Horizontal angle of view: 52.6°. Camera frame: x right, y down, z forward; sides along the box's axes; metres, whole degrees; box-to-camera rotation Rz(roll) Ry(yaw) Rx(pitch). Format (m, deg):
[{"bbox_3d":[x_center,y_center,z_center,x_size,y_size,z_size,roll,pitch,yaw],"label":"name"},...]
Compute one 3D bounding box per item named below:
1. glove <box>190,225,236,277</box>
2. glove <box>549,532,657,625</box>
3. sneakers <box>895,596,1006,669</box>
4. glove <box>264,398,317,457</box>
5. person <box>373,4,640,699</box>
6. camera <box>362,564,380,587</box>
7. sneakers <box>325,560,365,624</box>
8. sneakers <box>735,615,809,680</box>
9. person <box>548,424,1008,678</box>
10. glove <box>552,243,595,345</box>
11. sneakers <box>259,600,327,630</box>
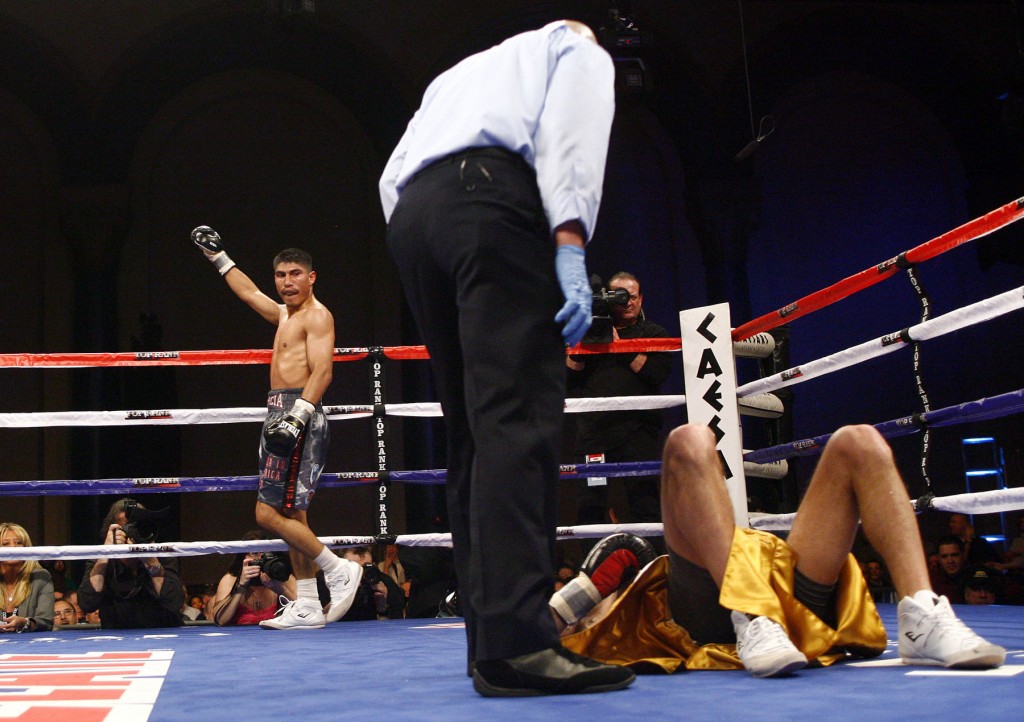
[{"bbox_3d":[-1.871,-0.741,6.539,0.312,0.164,0.114,35,-6,35],"label":"glove"},{"bbox_3d":[0.369,0.866,4.161,0.304,0.417,0.169,26,-16,13],"label":"glove"},{"bbox_3d":[1.615,0.994,3.832,0.179,0.246,0.531,4,-15,-11],"label":"sneakers"},{"bbox_3d":[-1.271,0.407,5.939,0.406,0.222,0.155,-14,-13,37],"label":"glove"},{"bbox_3d":[-0.013,-0.048,4.002,0.884,2.558,0.395,-2,-12,1],"label":"person"},{"bbox_3d":[-0.997,1.528,7.500,0.108,0.120,0.138,3,10,17],"label":"camera"},{"bbox_3d":[-1.002,1.306,6.040,0.172,0.384,0.132,21,1,-25],"label":"sneakers"},{"bbox_3d":[0.971,1.050,3.957,0.181,0.188,0.488,-5,-5,0],"label":"sneakers"},{"bbox_3d":[0.991,0.748,4.210,1.953,0.793,1.298,-7,-8,39],"label":"person"},{"bbox_3d":[0.235,-0.257,4.014,0.122,0.408,0.126,-1,-12,11],"label":"glove"},{"bbox_3d":[-1.261,1.416,5.859,0.436,0.179,0.142,2,-18,-8],"label":"sneakers"}]
